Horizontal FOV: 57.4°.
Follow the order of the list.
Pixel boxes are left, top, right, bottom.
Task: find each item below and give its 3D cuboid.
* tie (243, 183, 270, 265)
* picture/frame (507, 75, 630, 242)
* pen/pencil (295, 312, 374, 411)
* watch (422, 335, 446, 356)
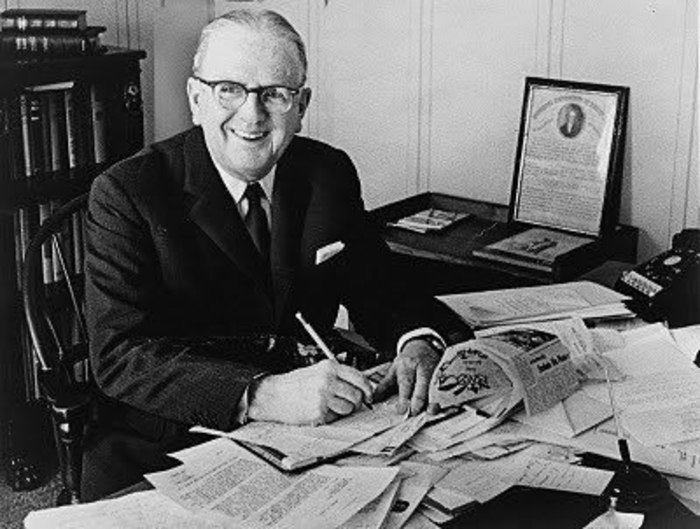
[{"bbox_3d":[-0.237,-0.108,1.649,0.051,0.223,0.056,-7,6,-8],"label":"tie"},{"bbox_3d":[0.787,-0.368,2.246,0.486,0.692,0.087,13,12,38],"label":"picture/frame"},{"bbox_3d":[-0.037,0.213,1.402,0.021,0.193,0.021,-29,7,47],"label":"pen/pencil"},{"bbox_3d":[0.183,0.171,1.375,0.029,0.015,0.038,32,8,-31],"label":"watch"}]
